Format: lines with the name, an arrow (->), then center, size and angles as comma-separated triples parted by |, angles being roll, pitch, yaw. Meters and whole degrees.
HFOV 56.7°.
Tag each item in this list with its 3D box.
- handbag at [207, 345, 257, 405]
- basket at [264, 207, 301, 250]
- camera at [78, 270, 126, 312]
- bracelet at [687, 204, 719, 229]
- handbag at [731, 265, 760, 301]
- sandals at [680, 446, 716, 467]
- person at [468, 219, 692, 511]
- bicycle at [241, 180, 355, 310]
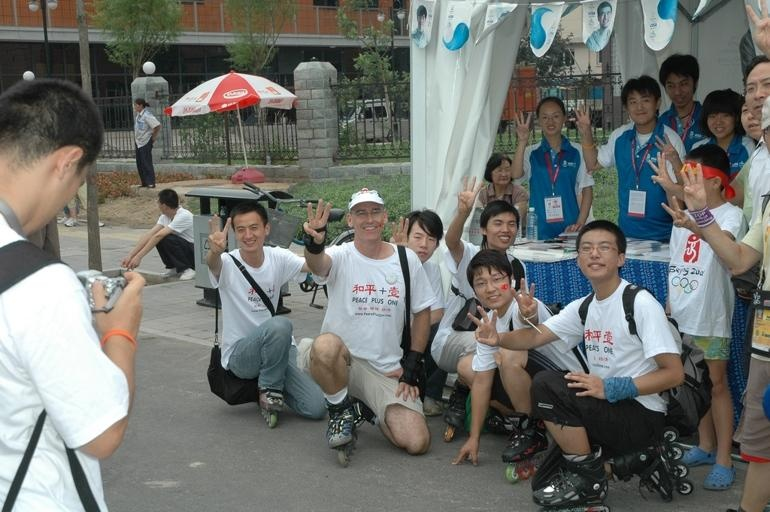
handbag -> -1.293, 1.032, 6.064 | 0.438, 0.523, 0.200 | -2, 12, -3
basket -> -1.244, -0.345, 8.740 | 0.512, 0.443, 0.421 | 16, 3, -4
camera -> -1.270, 0.148, 3.099 | 0.137, 0.235, 0.219 | -4, 2, -37
bracelet -> 1.954, -0.236, 4.399 | 0.121, 0.111, 0.118 | -6, -19, -33
handbag -> 2.285, 0.171, 4.610 | 0.185, 0.221, 0.269 | 1, 1, -26
sandals -> 2.238, 1.434, 5.152 | 0.300, 0.158, 0.147 | 2, -1, -5
person -> 1.345, 0.666, 4.672 | 0.942, 1.710, 0.671 | -4, 13, -9
bicycle -> -1.426, -0.233, 9.198 | 1.724, 1.179, 1.135 | 9, 6, 10
